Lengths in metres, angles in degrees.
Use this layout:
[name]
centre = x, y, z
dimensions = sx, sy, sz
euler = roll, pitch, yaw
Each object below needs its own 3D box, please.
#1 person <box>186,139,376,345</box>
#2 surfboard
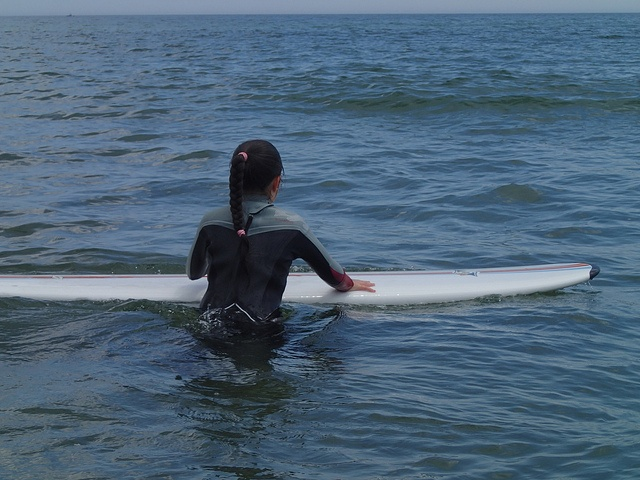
[person]
centre = -0.575, -0.034, 8.809
dimensions = 1.413, 1.902, 0.645
euler = -2, 17, -5
[surfboard]
centre = -0.205, 0.488, 10.050
dimensions = 8.586, 0.320, 0.652
euler = 0, 7, 0
